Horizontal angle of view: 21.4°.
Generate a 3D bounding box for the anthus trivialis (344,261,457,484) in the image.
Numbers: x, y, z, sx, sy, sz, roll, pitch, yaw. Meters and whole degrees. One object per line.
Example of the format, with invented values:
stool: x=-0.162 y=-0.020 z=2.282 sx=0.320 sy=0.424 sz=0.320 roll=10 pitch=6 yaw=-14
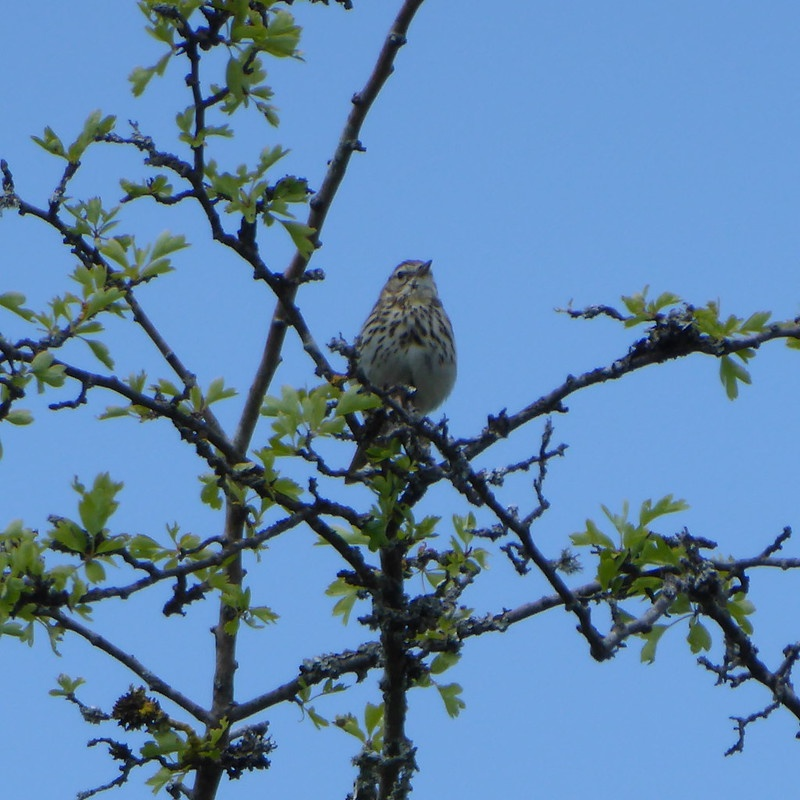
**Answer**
anthus trivialis: x=0.003 y=-0.239 z=10.875 sx=0.445 sy=0.926 sz=0.949 roll=8 pitch=-23 yaw=-22
